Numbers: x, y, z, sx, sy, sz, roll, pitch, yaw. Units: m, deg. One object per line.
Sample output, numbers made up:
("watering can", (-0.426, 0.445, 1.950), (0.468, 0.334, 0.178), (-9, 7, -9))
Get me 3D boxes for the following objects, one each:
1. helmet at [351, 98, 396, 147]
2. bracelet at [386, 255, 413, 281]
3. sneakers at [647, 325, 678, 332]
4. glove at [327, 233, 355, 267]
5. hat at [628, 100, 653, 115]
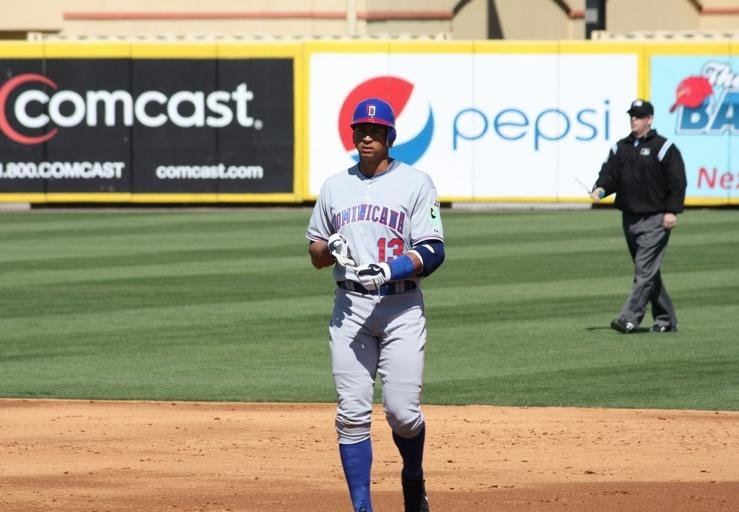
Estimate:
("helmet", (0.076, -1.626, 19.602), (0.482, 0.495, 0.583), (1, -6, 13))
("bracelet", (0.380, 0.152, 19.183), (0.235, 0.144, 0.306), (-5, 38, 7))
("sneakers", (4.365, 1.085, 23.951), (0.395, 0.163, 0.132), (4, 3, 3))
("glove", (-0.366, -0.054, 19.385), (0.259, 0.437, 0.193), (-23, -6, -14))
("hat", (4.004, -2.181, 23.542), (0.239, 0.165, 0.342), (2, -1, 38))
